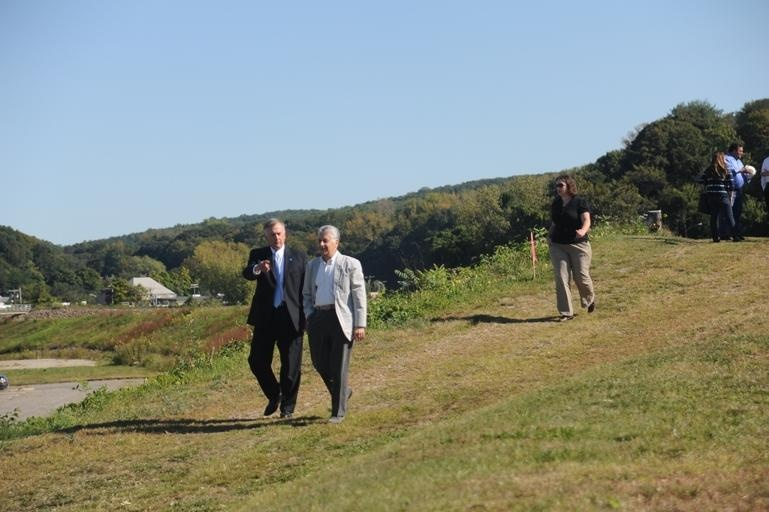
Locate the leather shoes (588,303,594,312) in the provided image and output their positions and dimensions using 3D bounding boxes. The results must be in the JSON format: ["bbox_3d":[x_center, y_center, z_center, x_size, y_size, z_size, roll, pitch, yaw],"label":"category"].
[{"bbox_3d":[4.446,1.122,16.925,0.153,0.172,0.183,0,-5,7],"label":"leather shoes"}]

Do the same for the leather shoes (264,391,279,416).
[{"bbox_3d":[-1.958,2.620,13.873,0.236,0.530,0.213,14,-10,0],"label":"leather shoes"}]

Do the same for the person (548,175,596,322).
[{"bbox_3d":[3.942,-0.175,16.660,0.867,3.077,0.914,-5,11,14],"label":"person"}]
